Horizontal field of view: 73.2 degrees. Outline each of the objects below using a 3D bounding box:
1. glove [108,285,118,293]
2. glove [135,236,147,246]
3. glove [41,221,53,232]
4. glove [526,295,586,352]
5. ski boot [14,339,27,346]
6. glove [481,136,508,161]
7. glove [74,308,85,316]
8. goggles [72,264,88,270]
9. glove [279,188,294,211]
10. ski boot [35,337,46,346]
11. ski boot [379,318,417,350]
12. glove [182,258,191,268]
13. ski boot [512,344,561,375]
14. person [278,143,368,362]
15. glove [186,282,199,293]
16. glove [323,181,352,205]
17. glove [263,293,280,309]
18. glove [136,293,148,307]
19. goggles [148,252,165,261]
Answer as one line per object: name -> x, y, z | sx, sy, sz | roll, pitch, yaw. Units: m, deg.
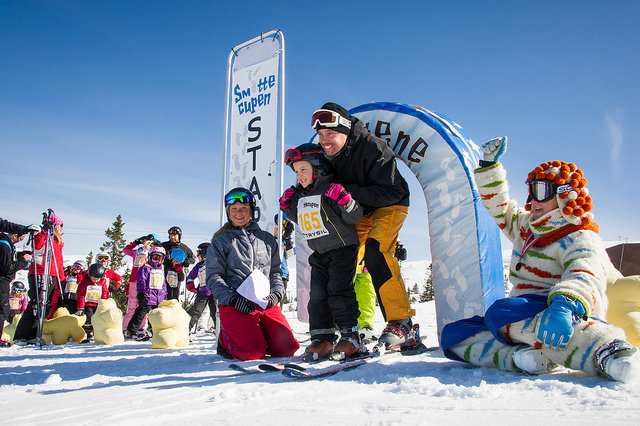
glove -> -4.738, 1.704, 9.797 | 0.228, 0.075, 0.250 | 5, 13, 6
glove -> -3.961, 0.604, 9.472 | 0.200, 0.167, 0.416 | 3, -9, -28
glove -> -4.668, 0.222, 7.314 | 0.164, 0.164, 0.049 | 43, 3, -41
glove -> 1.934, 0.882, 3.530 | 0.455, 0.421, 0.162 | -5, -9, 24
ski boot -> -4.975, 2.118, 7.127 | 0.189, 0.091, 0.136 | 2, -9, -28
glove -> 1.787, -0.653, 4.428 | 0.185, 0.207, 0.314 | -2, -8, -1
glove -> -4.550, 1.865, 8.140 | 0.173, 0.124, 0.062 | -12, 14, -38
goggles -> -5.235, 1.213, 9.337 | 0.144, 0.173, 0.163 | 17, -11, 12
glove -> -0.353, -0.140, 4.592 | 0.082, 0.240, 0.176 | 11, -3, -12
ski boot -> -4.432, 2.020, 6.809 | 0.111, 0.126, 0.314 | 4, -10, -34
ski boot -> 0.895, 1.327, 4.765 | 0.697, 0.315, 0.248 | 11, -14, -43
glove -> -2.962, 1.081, 9.512 | 0.040, 0.156, 0.155 | 10, 7, 2
ski boot -> 1.769, 1.176, 3.590 | 0.273, 0.231, 0.314 | -1, 3, 35
person -> 0.060, 0.332, 4.494 | 0.781, 2.266, 0.478 | -3, -9, 7
glove -> -2.791, 1.612, 9.344 | 0.287, 0.101, 0.252 | 44, -47, -6
glove -> 0.181, -0.209, 4.337 | 0.238, 0.207, 0.094 | 25, -26, 8
glove -> -0.554, 0.993, 4.937 | 0.093, 0.154, 0.292 | -4, -8, 16
glove -> -3.287, 1.585, 7.922 | 0.207, 0.240, 0.065 | -5, -9, 23
goggles -> -3.261, 0.859, 8.534 | 0.282, 0.157, 0.186 | 1, -9, -22
